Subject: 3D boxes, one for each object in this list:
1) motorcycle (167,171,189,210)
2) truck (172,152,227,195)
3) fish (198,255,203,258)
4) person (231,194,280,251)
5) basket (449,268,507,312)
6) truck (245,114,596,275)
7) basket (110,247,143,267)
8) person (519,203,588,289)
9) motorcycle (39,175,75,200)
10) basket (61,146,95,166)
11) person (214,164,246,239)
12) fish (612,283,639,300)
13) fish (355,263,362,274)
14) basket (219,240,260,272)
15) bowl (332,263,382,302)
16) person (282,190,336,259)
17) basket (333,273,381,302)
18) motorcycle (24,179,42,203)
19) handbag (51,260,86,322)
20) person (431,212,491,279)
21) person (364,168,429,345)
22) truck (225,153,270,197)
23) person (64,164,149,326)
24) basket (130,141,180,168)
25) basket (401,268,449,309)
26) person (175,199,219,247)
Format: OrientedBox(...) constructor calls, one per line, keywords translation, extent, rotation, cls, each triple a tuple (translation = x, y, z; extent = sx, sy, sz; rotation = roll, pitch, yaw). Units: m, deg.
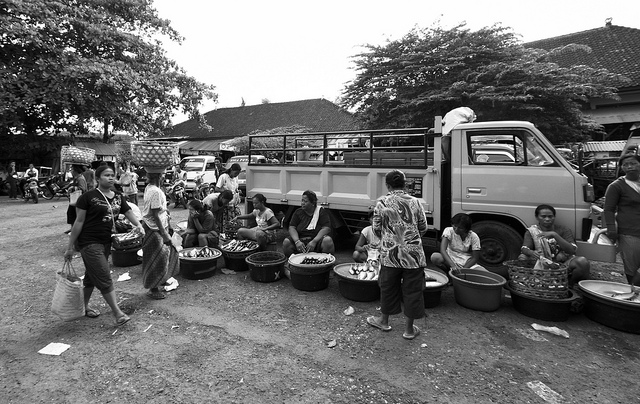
OrientedBox(translation=(-5.488, -0.343, 16.042), extent=(0.997, 1.050, 1.635), rotation=(-11, 3, -16), cls="motorcycle")
OrientedBox(translation=(-5.586, -1.400, 19.231), extent=(1.769, 1.701, 2.896), rotation=(4, 12, 14), cls="truck")
OrientedBox(translation=(-2.385, 1.087, 7.959), extent=(0.084, 0.018, 0.180), rotation=(-2, 7, -15), cls="fish")
OrientedBox(translation=(-1.369, 0.514, 8.995), extent=(1.082, 1.323, 0.836), rotation=(1, 4, 39), cls="person")
OrientedBox(translation=(2.756, 1.549, 6.973), extent=(0.751, 0.355, 0.746), rotation=(0, 7, -6), cls="basket")
OrientedBox(translation=(1.725, -0.591, 9.778), extent=(7.661, 3.411, 3.732), rotation=(1, 5, 21), cls="truck")
OrientedBox(translation=(-4.078, 1.158, 8.378), extent=(0.475, 0.289, 0.474), rotation=(0, 4, 3), cls="basket")
OrientedBox(translation=(4.178, 0.809, 7.186), extent=(1.099, 1.471, 0.651), rotation=(2, 7, 17), cls="person")
OrientedBox(translation=(-11.605, -0.677, 17.838), extent=(1.579, 1.015, 0.547), rotation=(-2, 13, -1), cls="motorcycle")
OrientedBox(translation=(-7.022, -1.332, 11.587), extent=(0.591, 0.565, 0.870), rotation=(1, 7, 8), cls="basket")
OrientedBox(translation=(-2.337, 0.034, 10.231), extent=(0.615, 2.033, 0.848), rotation=(4, 1, 41), cls="person")
OrientedBox(translation=(4.954, 1.531, 6.639), extent=(0.509, 0.246, 0.179), rotation=(2, -12, -6), cls="fish")
OrientedBox(translation=(0.709, 1.244, 7.407), extent=(0.059, 0.120, 0.231), rotation=(3, 7, 21), cls="fish")
OrientedBox(translation=(-1.799, 1.227, 8.507), extent=(0.714, 0.369, 0.692), rotation=(2, -4, -34), cls="basket")
OrientedBox(translation=(0.672, 1.435, 7.224), extent=(0.805, 0.355, 0.795), rotation=(0, 5, 0), cls="bowl")
OrientedBox(translation=(-0.226, 0.554, 8.296), extent=(1.116, 1.496, 0.883), rotation=(-1, 5, 14), cls="person")
OrientedBox(translation=(0.676, 1.561, 7.103), extent=(0.528, 0.219, 0.573), rotation=(-1, 0, 17), cls="basket")
OrientedBox(translation=(-12.030, -0.477, 16.671), extent=(0.423, 0.956, 0.940), rotation=(-6, 9, -41), cls="motorcycle")
OrientedBox(translation=(-4.208, 1.521, 6.684), extent=(0.455, 0.969, 0.874), rotation=(-5, 12, -41), cls="handbag")
OrientedBox(translation=(2.670, 0.917, 7.394), extent=(1.008, 1.286, 0.908), rotation=(8, 12, 40), cls="person")
OrientedBox(translation=(1.257, 0.830, 6.512), extent=(0.977, 2.516, 0.793), rotation=(5, 8, 36), cls="person")
OrientedBox(translation=(-3.409, -1.316, 18.236), extent=(1.444, 1.459, 2.808), rotation=(-16, 21, -9), cls="truck")
OrientedBox(translation=(-3.633, 0.674, 6.702), extent=(1.064, 2.555, 0.970), rotation=(-1, 7, -8), cls="person")
OrientedBox(translation=(-2.980, -0.865, 7.211), extent=(0.609, 0.286, 0.555), rotation=(0, 10, -5), cls="basket")
OrientedBox(translation=(1.855, 1.540, 7.082), extent=(0.729, 0.307, 0.737), rotation=(3, 10, 29), cls="basket")
OrientedBox(translation=(-2.636, 0.467, 8.881), extent=(0.681, 1.049, 0.431), rotation=(4, 8, 30), cls="person")
